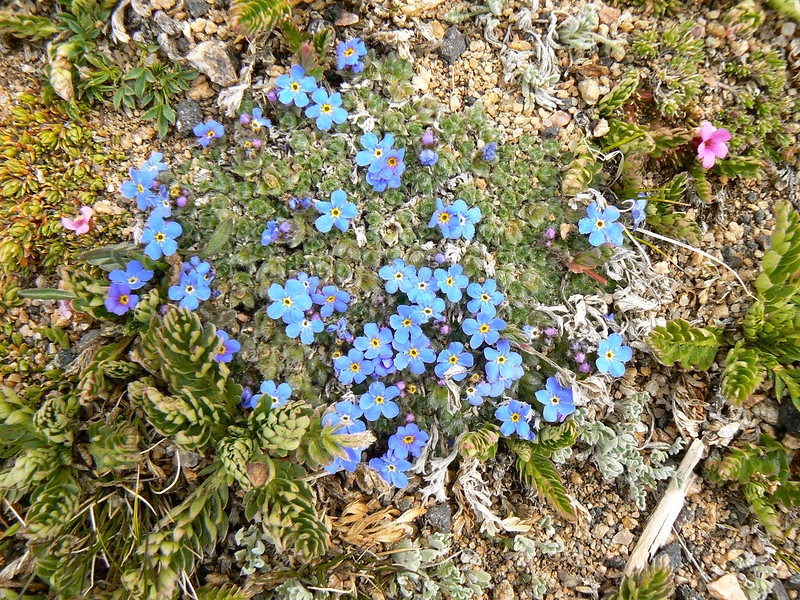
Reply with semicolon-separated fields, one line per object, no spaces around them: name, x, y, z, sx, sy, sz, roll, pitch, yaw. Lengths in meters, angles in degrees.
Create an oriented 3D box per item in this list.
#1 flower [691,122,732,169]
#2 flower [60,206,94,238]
flower;2.401;-1.201;5.248;0.305;0.125;0.341;-13;98;2
flower;-2.388;-0.580;5.068;0.203;0.093;0.187;-30;84;-3
